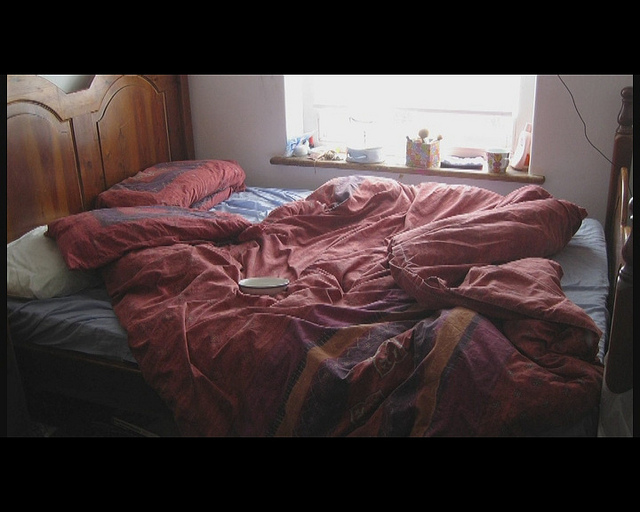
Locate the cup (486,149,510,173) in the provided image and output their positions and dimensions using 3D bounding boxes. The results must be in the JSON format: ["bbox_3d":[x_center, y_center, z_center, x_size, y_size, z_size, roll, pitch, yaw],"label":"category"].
[{"bbox_3d":[0.541,-0.290,1.510,0.055,0.056,0.073,-4,29,3],"label":"cup"}]

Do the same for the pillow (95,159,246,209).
[{"bbox_3d":[-0.406,-0.210,1.434,0.242,0.095,0.425,8,27,27],"label":"pillow"}]

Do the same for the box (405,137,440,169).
[{"bbox_3d":[0.325,-0.344,1.598,0.093,0.085,0.097,19,42,30],"label":"box"}]

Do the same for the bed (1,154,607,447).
[{"bbox_3d":[0.018,0.060,1.021,1.162,0.367,0.669,-1,8,15],"label":"bed"}]

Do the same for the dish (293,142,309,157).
[{"bbox_3d":[-0.068,-0.362,1.662,0.042,0.044,0.044,-1,19,-1],"label":"dish"}]

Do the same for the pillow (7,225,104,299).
[{"bbox_3d":[-0.530,0.005,0.999,0.165,0.130,0.154,25,27,22],"label":"pillow"}]
